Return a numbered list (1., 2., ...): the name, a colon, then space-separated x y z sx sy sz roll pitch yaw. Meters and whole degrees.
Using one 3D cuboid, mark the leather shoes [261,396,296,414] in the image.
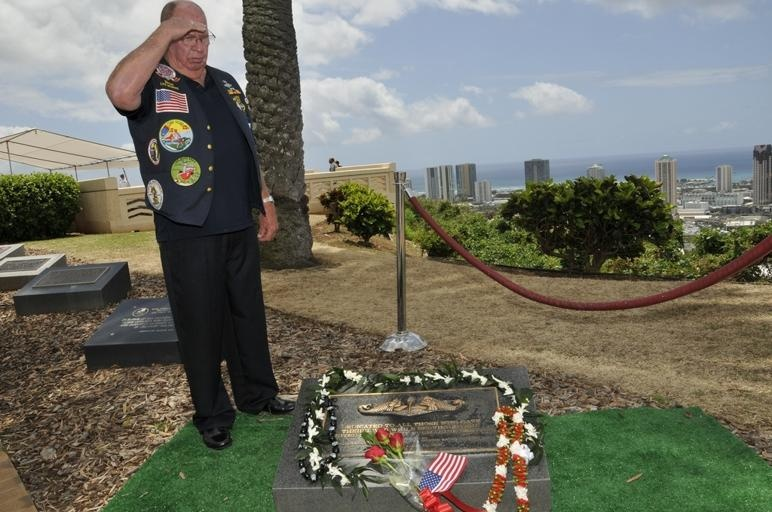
1. leather shoes: -0.985 1.360 5.024 0.293 0.093 0.160 0 6 19
